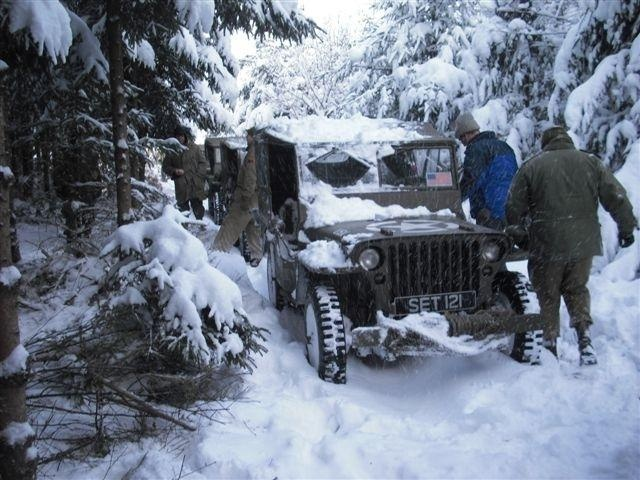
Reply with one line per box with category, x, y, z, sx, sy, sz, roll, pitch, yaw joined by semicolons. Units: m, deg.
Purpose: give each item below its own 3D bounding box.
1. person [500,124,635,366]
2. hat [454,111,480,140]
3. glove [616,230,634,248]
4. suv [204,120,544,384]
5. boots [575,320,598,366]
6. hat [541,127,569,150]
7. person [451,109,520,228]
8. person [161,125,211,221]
person;2.848;0.029;7.424;1.331;2.707;0.478;1;3;20
hat;1.950;-1.527;8.528;0.299;0.363;0.264;-9;10;11
glove;3.567;-0.013;7.473;0.177;0.325;0.100;2;1;20
suv;0.489;-0.133;8.274;1.800;2.343;4.150;-5;21;-14
boots;3.044;1.170;7.305;0.226;0.461;0.234;1;4;25
hat;2.754;-1.190;7.529;0.195;0.294;0.307;-8;8;-5
person;2.216;-0.550;8.664;0.743;2.333;0.805;-9;9;-29
person;-2.693;-1.300;12.716;0.741;1.805;1.746;0;4;2
